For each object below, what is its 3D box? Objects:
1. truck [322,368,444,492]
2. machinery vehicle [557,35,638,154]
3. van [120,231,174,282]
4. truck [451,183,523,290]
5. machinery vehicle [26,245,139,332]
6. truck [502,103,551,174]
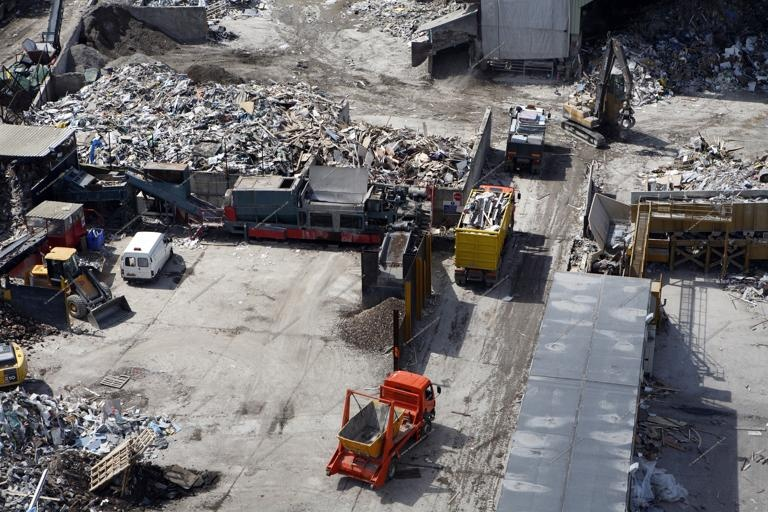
[{"bbox_3d":[0.057,6.234,27.433,2.131,3.242,5.245,9,21,29],"label":"truck"},{"bbox_3d":[14.352,-10.983,46.472,3.645,6.604,5.732,-26,37,-25],"label":"machinery vehicle"},{"bbox_3d":[-12.420,-0.147,37.247,2.003,1.874,3.601,3,28,0],"label":"van"},{"bbox_3d":[5.114,-0.925,36.249,2.126,3.431,4.878,8,46,20],"label":"truck"},{"bbox_3d":[-15.111,1.178,34.587,5.584,2.989,2.827,20,35,8],"label":"machinery vehicle"},{"bbox_3d":[8.902,-7.498,44.275,2.226,2.374,4.404,5,47,10],"label":"truck"}]
